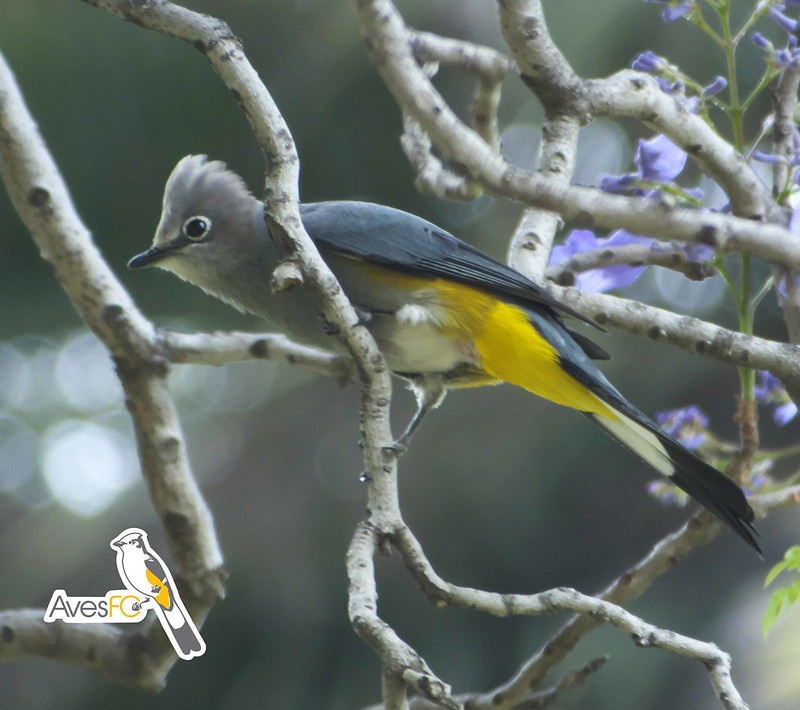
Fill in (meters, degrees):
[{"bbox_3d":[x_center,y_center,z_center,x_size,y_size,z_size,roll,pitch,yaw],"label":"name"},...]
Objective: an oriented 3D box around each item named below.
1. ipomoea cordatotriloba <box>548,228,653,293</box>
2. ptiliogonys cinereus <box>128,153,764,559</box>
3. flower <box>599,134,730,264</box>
[{"bbox_3d":[0.243,-0.109,1.671,0.103,0.082,0.039,-4,12,15],"label":"ipomoea cordatotriloba"},{"bbox_3d":[0.040,-0.032,1.651,0.777,0.338,0.214,10,-21,-2],"label":"ptiliogonys cinereus"},{"bbox_3d":[0.324,-0.187,1.637,0.168,0.154,0.121,-4,7,3],"label":"flower"}]
